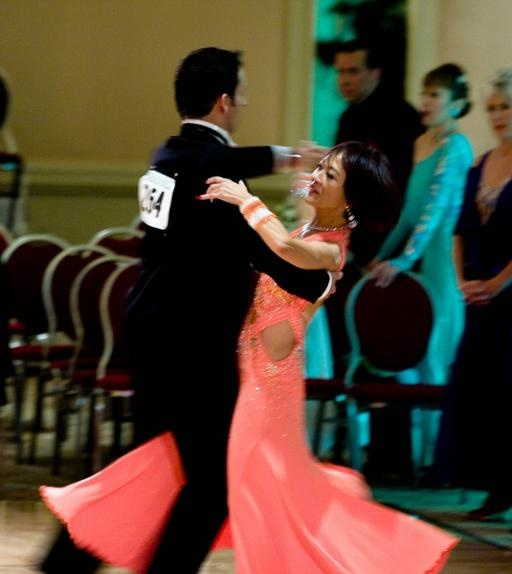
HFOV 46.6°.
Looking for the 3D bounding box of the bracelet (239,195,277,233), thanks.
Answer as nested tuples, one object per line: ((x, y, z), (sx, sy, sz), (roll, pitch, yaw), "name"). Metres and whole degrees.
((0.001, -0.151, 1.207), (0.068, 0.068, 0.024), (-43, 8, 2), "bracelet")

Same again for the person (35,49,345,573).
((-0.067, 0.056, 1.295), (0.424, 1.129, 0.430), (-2, 13, -13), "person")
